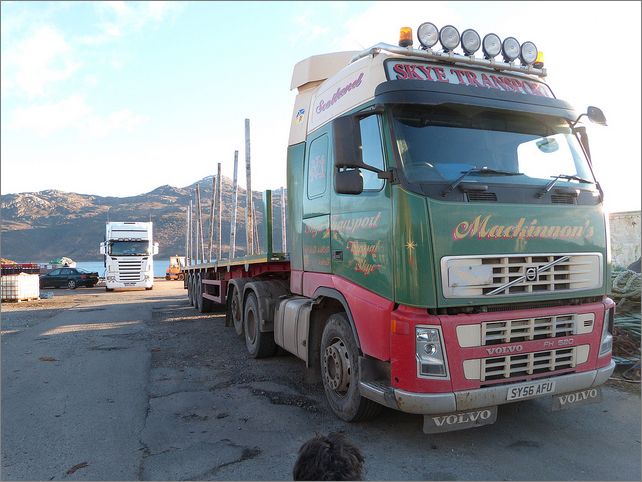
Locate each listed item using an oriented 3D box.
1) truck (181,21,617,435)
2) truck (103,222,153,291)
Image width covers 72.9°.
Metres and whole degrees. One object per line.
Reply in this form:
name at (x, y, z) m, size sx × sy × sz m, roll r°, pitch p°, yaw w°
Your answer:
truck at (0.512, 0.093, 7.285) m, size 2.508 × 3.414 × 7.048 m, roll 1°, pitch -2°, yaw -24°
truck at (-11.206, 0.887, 25.009) m, size 1.884 × 2.618 × 4.656 m, roll 1°, pitch -8°, yaw -19°
